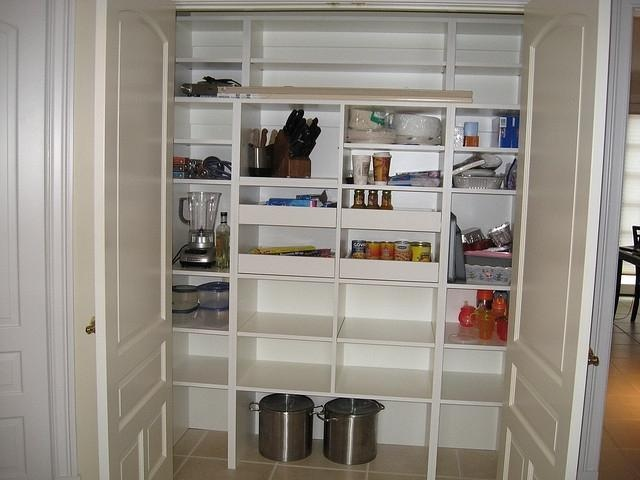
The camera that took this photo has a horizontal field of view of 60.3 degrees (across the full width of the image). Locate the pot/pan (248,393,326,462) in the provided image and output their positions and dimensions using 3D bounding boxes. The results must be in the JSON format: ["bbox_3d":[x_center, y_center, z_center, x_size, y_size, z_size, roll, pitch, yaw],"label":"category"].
[{"bbox_3d":[-0.209,1.174,3.470,0.458,0.334,0.332,2,6,-11],"label":"pot/pan"}]

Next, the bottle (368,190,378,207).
[{"bbox_3d":[0.304,-0.236,3.186,0.081,0.110,0.084,0,-2,0],"label":"bottle"}]

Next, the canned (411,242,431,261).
[{"bbox_3d":[0.576,0.067,3.160,0.098,0.117,0.102,-1,2,1],"label":"canned"}]

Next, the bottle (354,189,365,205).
[{"bbox_3d":[0.223,-0.244,3.176,0.074,0.109,0.076,1,-1,0],"label":"bottle"}]

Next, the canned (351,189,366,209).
[{"bbox_3d":[0.228,-0.240,3.177,0.074,0.112,0.123,3,13,6],"label":"canned"}]

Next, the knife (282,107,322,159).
[{"bbox_3d":[-0.109,-0.605,3.172,0.228,0.270,0.113,23,9,-5],"label":"knife"}]

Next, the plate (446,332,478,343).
[{"bbox_3d":[0.831,0.577,3.219,0.182,0.016,0.185,5,14,16],"label":"plate"}]

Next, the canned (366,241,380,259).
[{"bbox_3d":[0.308,0.064,3.179,0.080,0.098,0.083,1,-1,2],"label":"canned"}]

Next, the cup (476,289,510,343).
[{"bbox_3d":[1.034,0.426,3.328,0.178,0.283,0.344,5,13,16],"label":"cup"}]

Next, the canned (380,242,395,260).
[{"bbox_3d":[0.387,0.064,3.213,0.085,0.102,0.088,0,-1,2],"label":"canned"}]

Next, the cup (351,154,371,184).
[{"bbox_3d":[0.235,-0.407,3.194,0.098,0.165,0.173,2,12,3],"label":"cup"}]

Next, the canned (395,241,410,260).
[{"bbox_3d":[0.474,0.071,3.206,0.091,0.092,0.078,1,2,18],"label":"canned"}]

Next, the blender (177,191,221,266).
[{"bbox_3d":[-0.738,-0.049,3.420,0.289,0.445,0.256,1,-1,-1],"label":"blender"}]

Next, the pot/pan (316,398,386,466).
[{"bbox_3d":[0.151,1.184,3.449,0.415,0.319,0.344,2,2,13],"label":"pot/pan"}]

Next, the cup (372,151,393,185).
[{"bbox_3d":[0.349,-0.411,3.172,0.106,0.182,0.103,1,12,0],"label":"cup"}]
